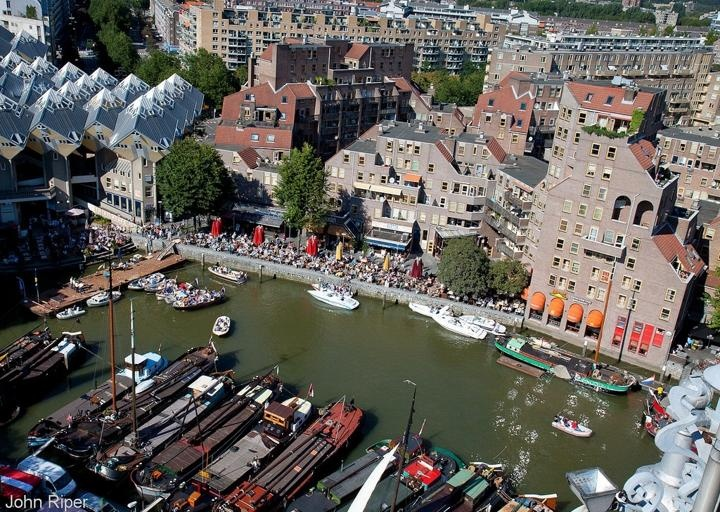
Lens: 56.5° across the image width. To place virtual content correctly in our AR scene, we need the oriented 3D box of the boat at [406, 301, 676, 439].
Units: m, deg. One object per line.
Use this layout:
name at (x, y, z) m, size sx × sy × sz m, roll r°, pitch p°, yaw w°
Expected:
boat at (25.669, 15.076, 95.297) m, size 18.262 × 12.523 × 34.739 m, roll -12°, pitch 7°, yaw -37°
